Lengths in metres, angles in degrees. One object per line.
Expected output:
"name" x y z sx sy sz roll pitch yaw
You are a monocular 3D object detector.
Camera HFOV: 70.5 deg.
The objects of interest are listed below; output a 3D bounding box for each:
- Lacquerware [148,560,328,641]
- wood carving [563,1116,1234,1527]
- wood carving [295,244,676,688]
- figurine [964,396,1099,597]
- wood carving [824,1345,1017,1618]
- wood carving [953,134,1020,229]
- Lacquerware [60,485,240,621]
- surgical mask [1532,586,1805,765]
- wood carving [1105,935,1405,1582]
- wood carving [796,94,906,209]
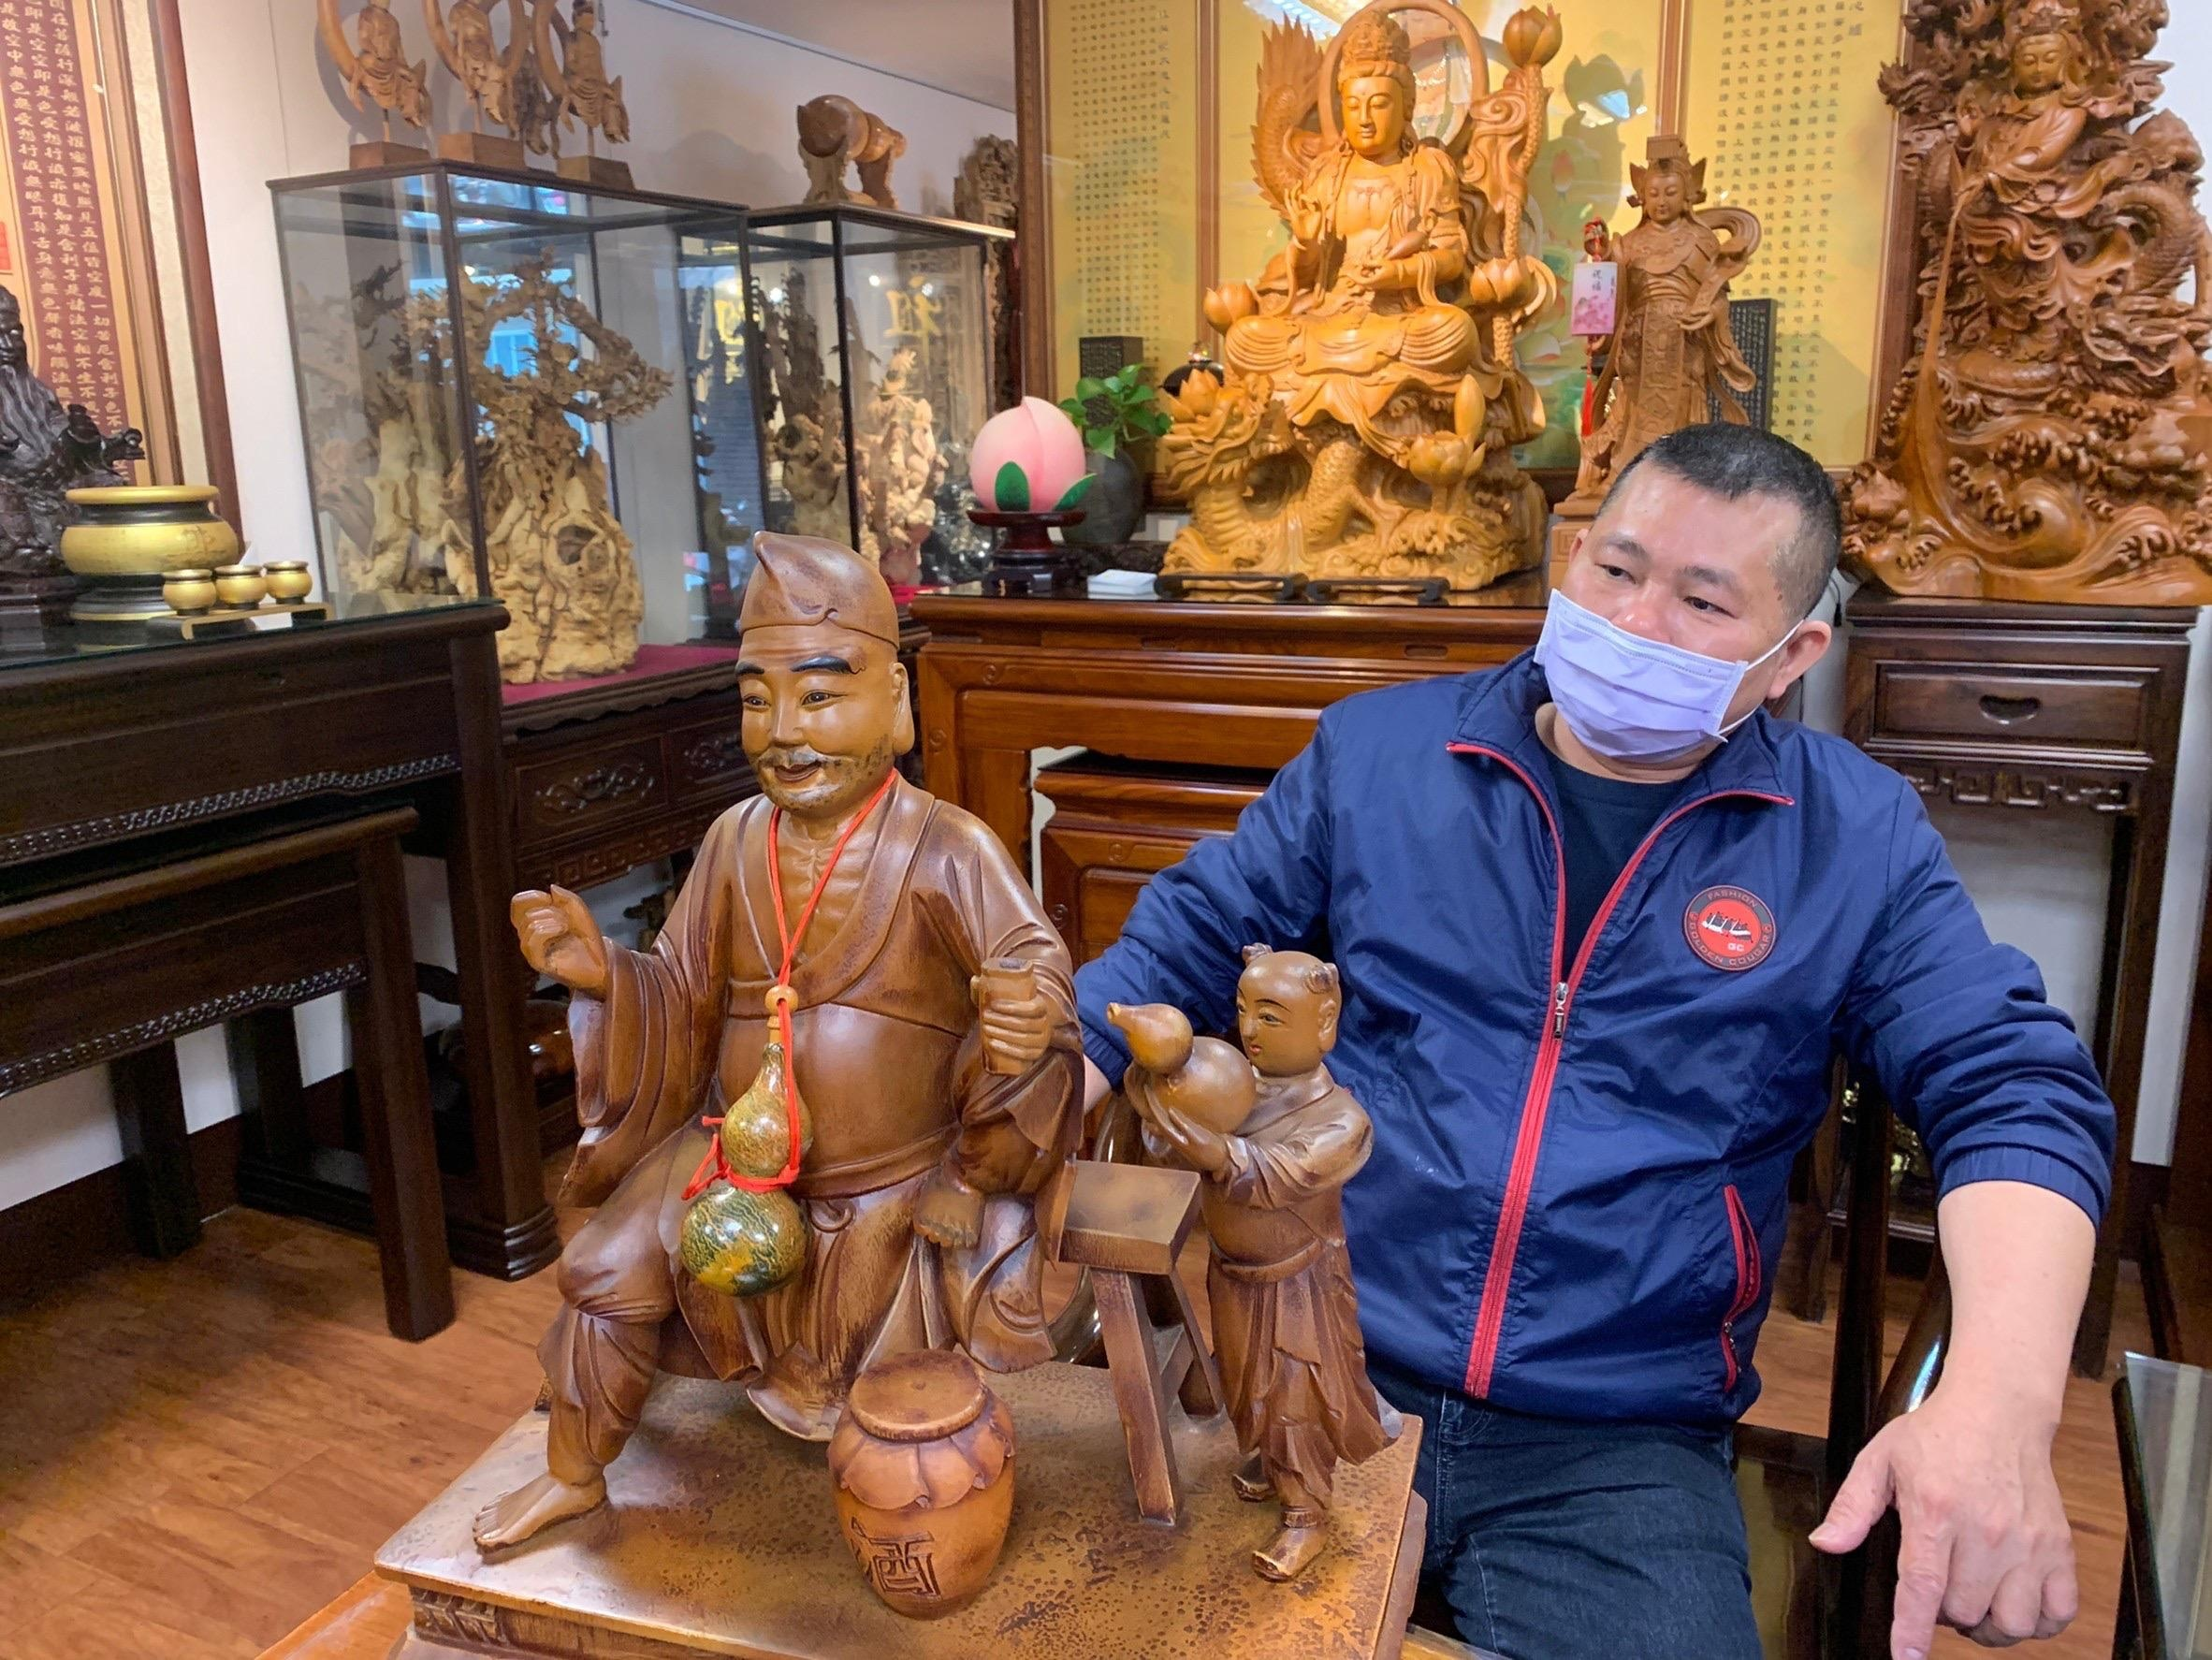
"Lacquerware" -1.287 -0.347 2.329 0.240 0.077 0.287 -12 21 -27
"wood carving" -0.055 0.378 1.248 0.218 0.294 0.208 -1 16 18
"wood carving" -1.090 -0.679 3.111 0.592 0.746 0.464 2 11 30
"figurine" -0.151 -0.650 3.011 0.230 0.372 0.230 -3 15 -21
"wood carving" -0.121 0.456 1.135 0.145 0.164 0.153 -1 3 3
"wood carving" -0.368 -1.964 4.695 0.187 0.274 0.297 -4 19 -4
"Lacquerware" -1.474 -0.434 2.482 0.228 0.190 0.233 0 3 1
"surgical mask" 0.573 -0.178 1.663 0.250 0.149 0.229 -25 41 -33
"wood carving" 0.119 0.308 1.175 0.173 0.442 0.179 12 23 35
"wood carving" -0.623 -1.684 3.880 0.159 0.263 0.358 13 23 34
